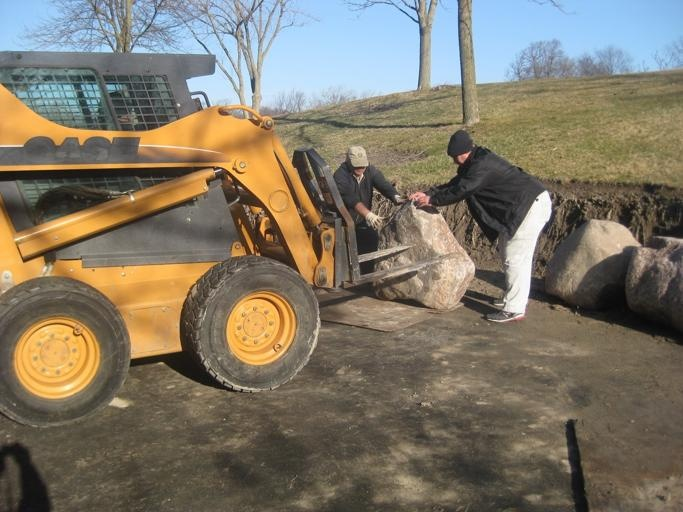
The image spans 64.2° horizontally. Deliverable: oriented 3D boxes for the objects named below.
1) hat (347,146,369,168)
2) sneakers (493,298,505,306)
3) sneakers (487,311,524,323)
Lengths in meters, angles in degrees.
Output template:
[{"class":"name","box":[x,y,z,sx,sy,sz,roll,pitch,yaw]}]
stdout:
[{"class":"hat","box":[0.180,-1.308,7.211,0.222,0.170,0.325,-9,30,-13]},{"class":"sneakers","box":[2.082,0.638,7.307,0.073,0.073,0.192,-3,-4,-19]},{"class":"sneakers","box":[1.958,0.755,6.703,0.483,0.183,0.169,3,1,1]}]
